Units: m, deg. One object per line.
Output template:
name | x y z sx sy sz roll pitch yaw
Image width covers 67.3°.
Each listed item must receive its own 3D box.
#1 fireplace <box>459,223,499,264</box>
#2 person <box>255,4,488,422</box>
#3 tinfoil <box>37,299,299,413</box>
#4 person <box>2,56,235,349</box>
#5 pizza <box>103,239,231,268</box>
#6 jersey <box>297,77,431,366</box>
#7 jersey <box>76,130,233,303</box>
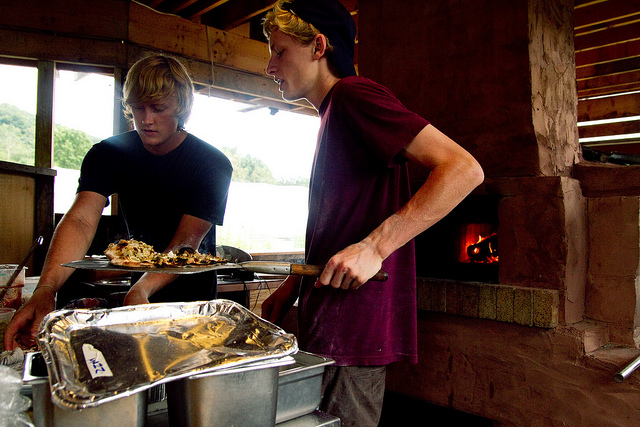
fireplace | 1.149 0.222 3.487 0.093 0.291 0.279 9 -5 -37
person | 0.147 -0.018 2.471 1.090 2.097 0.761 7 -4 -10
tinfoil | -0.634 0.523 1.994 0.916 0.085 0.815 -3 11 -27
person | -1.048 -0.127 2.803 1.087 1.398 0.747 8 -5 -33
pizza | -0.753 0.207 2.361 0.546 0.105 0.253 7 -5 -23
jersey | 0.189 0.024 2.387 0.475 1.637 0.879 3 -4 -30
jersey | -1.019 -0.149 2.971 0.872 0.764 0.269 5 -4 3
